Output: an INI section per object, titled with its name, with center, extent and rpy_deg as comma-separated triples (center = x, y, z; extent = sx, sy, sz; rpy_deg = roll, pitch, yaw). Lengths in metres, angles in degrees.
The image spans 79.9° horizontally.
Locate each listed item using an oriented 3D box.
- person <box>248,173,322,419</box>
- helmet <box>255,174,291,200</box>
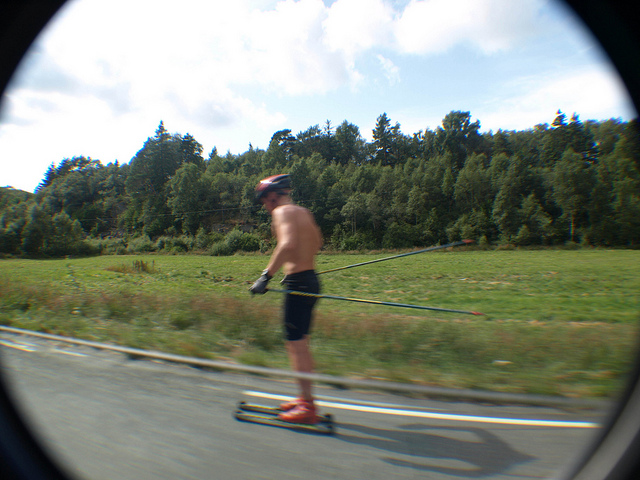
[person]
center = -0.320, 0.515, 3.785
extent = 0.642, 2.325, 0.540
rpy_deg = -2, 1, -2
[helmet]
center = -0.496, -0.529, 3.980
extent = 0.318, 0.164, 0.228
rpy_deg = -6, 17, 12
